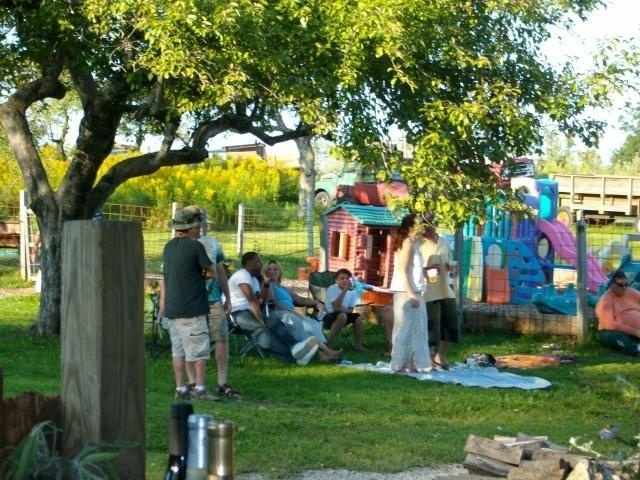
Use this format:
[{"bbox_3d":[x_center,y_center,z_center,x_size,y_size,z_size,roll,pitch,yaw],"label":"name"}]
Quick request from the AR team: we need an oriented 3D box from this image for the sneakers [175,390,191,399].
[{"bbox_3d":[-1.884,2.111,14.554,0.122,0.080,0.130,-3,-6,42],"label":"sneakers"}]

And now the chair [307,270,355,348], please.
[{"bbox_3d":[0.387,1.175,18.020,0.601,1.393,0.779,7,-9,-15],"label":"chair"}]

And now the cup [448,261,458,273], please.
[{"bbox_3d":[2.074,0.416,16.536,0.205,0.213,0.161,2,-6,3],"label":"cup"}]

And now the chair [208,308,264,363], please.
[{"bbox_3d":[-1.356,1.537,17.102,0.758,1.044,0.801,-1,1,1],"label":"chair"}]

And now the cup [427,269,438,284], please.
[{"bbox_3d":[1.754,0.570,16.323,0.181,0.192,0.177,0,1,0],"label":"cup"}]

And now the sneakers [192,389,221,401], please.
[{"bbox_3d":[-1.552,2.093,14.480,0.414,0.171,0.147,3,1,-7],"label":"sneakers"}]

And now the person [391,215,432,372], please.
[{"bbox_3d":[1.404,0.814,16.201,0.661,2.403,0.484,2,-3,-34],"label":"person"}]

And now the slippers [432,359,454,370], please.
[{"bbox_3d":[1.958,1.986,16.828,0.348,0.138,0.119,24,1,7],"label":"slippers"}]

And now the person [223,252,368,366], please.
[{"bbox_3d":[-0.656,1.062,16.953,2.616,1.582,1.164,16,5,36],"label":"person"}]

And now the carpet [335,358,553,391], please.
[{"bbox_3d":[2.083,2.061,16.270,2.882,0.308,1.325,-1,-4,13],"label":"carpet"}]

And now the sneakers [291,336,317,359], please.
[{"bbox_3d":[-0.227,1.696,16.724,0.449,0.228,0.202,-29,15,-24],"label":"sneakers"}]

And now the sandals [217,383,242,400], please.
[{"bbox_3d":[-1.273,2.108,14.795,0.343,0.163,0.166,0,3,21],"label":"sandals"}]

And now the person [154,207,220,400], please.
[{"bbox_3d":[-1.810,1.056,14.456,0.668,2.191,0.488,1,-3,-9],"label":"person"}]
